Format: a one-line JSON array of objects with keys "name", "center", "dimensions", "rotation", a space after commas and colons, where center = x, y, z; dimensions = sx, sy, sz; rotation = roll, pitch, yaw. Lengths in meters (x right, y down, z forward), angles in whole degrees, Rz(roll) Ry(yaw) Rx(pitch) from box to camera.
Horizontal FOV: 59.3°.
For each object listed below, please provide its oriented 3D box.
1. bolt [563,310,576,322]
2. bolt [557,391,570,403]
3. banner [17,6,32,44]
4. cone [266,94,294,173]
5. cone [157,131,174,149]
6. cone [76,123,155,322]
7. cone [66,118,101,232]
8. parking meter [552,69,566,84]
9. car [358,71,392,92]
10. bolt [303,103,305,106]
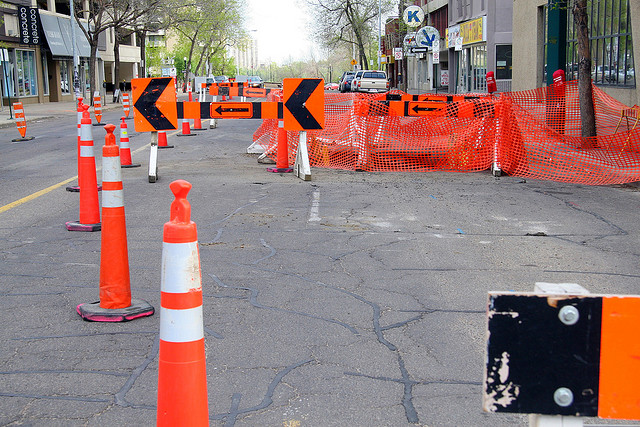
[{"name": "bolt", "center": [0.990, 0.409, 2.246], "dimensions": [0.042, 0.045, 0.011], "rotation": [-4, 17, -5]}, {"name": "bolt", "center": [0.977, 0.741, 2.264], "dimensions": [0.039, 0.044, 0.040], "rotation": [-25, 18, 17]}, {"name": "banner", "center": [-23.817, -15.668, 46.393], "dimensions": [0.960, 2.938, 1.263], "rotation": [-9, 18, -23]}, {"name": "cone", "center": [-0.841, -1.826, 13.542], "dimensions": [0.589, 1.638, 0.665], "rotation": [2, -4, -4]}, {"name": "cone", "center": [-5.075, -2.450, 18.698], "dimensions": [0.651, 0.701, 0.651], "rotation": [-1, 2, -8]}, {"name": "cone", "center": [-1.842, 0.050, 5.447], "dimensions": [0.638, 1.784, 0.655], "rotation": [-3, 11, -14]}, {"name": "cone", "center": [-3.301, -0.550, 8.265], "dimensions": [0.523, 1.519, 0.596], "rotation": [-2, 10, -9]}, {"name": "parking meter", "center": [6.903, -3.988, 16.310], "dimensions": [0.273, 0.352, 0.868], "rotation": [5, 19, 21]}, {"name": "car", "center": [4.906, -11.733, 50.783], "dimensions": [1.900, 1.528, 3.303], "rotation": [-1, 21, 0]}, {"name": "bolt", "center": [-0.308, -2.483, 12.703], "dimensions": [0.028, 0.055, 0.012], "rotation": [3, 17, 16]}]
